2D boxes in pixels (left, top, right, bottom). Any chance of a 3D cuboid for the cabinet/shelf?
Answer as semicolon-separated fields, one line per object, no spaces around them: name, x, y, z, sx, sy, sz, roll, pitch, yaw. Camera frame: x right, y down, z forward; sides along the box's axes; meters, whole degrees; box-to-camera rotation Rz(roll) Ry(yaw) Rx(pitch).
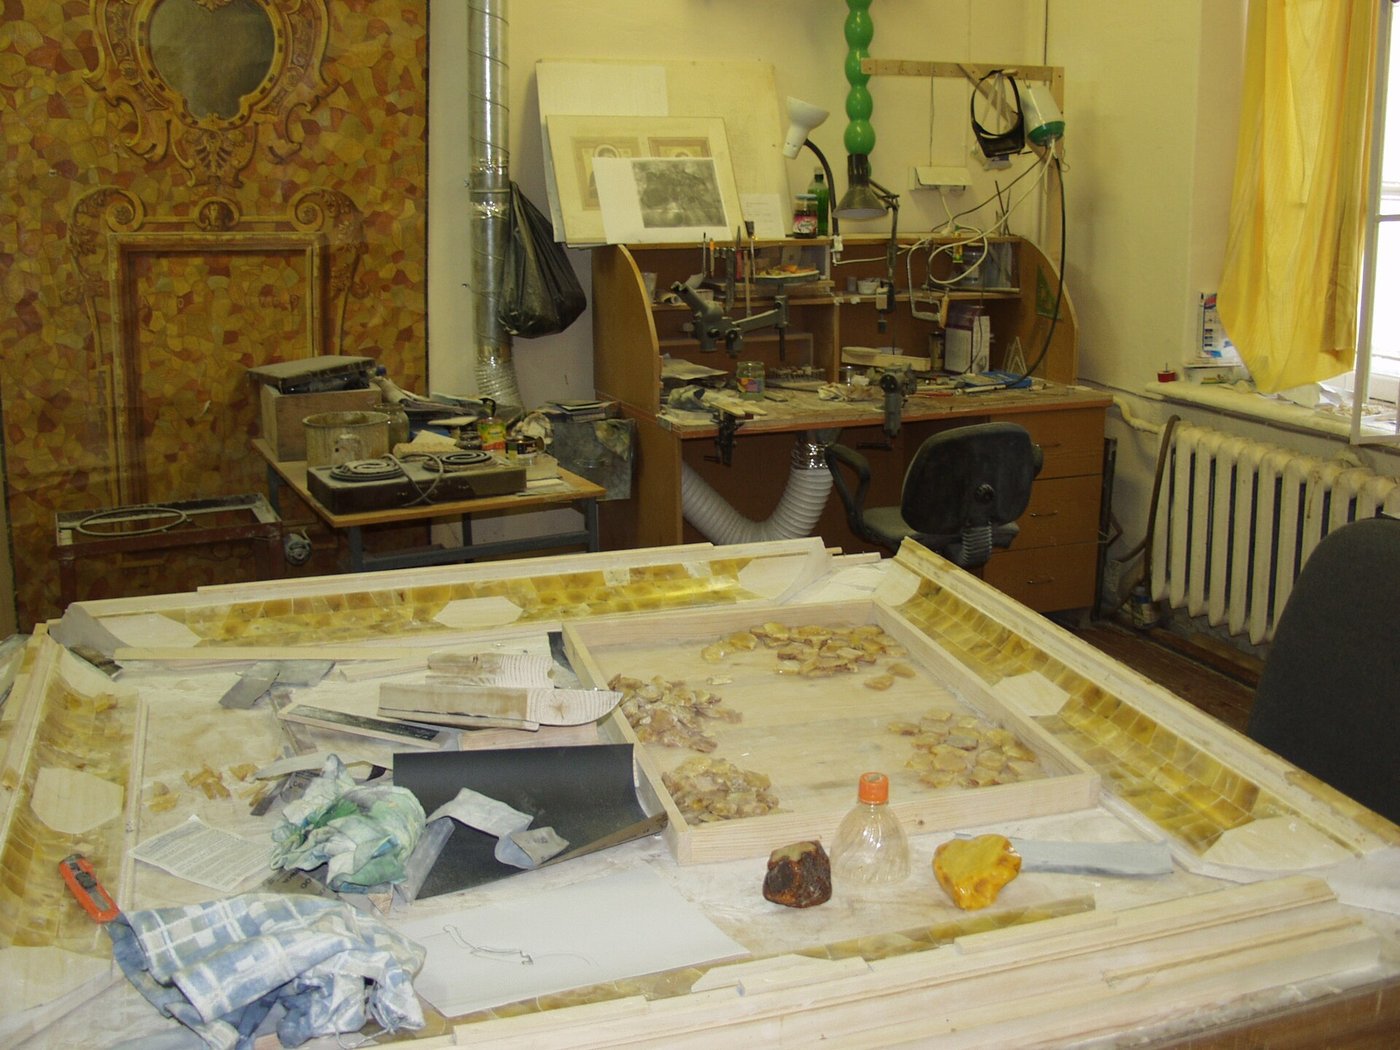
cabinet/shelf;0.503;-0.338;3.692;1.651;1.217;0.797;-5;11;-25

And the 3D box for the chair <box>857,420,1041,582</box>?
chair;0.773;-0.101;3.419;0.597;0.465;0.421;1;15;16
